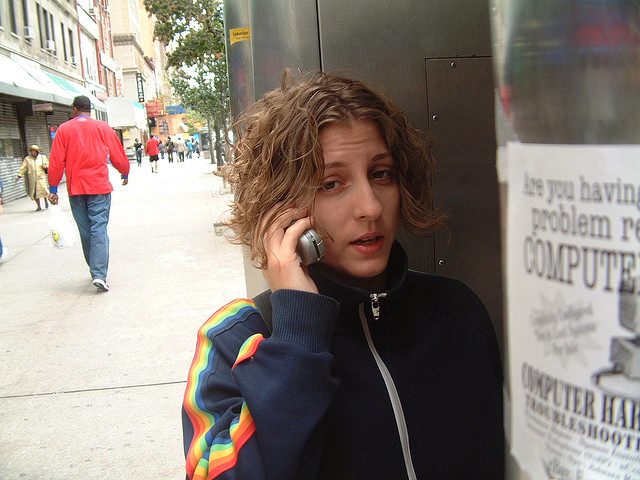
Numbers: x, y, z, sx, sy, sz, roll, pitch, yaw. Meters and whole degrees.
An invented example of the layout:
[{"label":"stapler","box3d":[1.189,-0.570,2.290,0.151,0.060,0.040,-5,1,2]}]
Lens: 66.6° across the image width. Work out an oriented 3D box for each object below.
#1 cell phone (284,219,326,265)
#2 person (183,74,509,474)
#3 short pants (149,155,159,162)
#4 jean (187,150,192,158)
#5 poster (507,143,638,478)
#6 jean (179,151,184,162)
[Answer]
[{"label":"cell phone","box3d":[-0.035,0.008,1.597,0.089,0.189,0.132,-17,10,-41]},{"label":"person","box3d":[0.042,0.108,1.517,1.012,1.201,0.644,-9,15,-17]},{"label":"short pants","box3d":[-10.059,-5.068,29.823,0.512,0.421,0.665,-6,-4,-37]},{"label":"jean","box3d":[-15.395,-10.188,57.488,0.353,1.012,2.770,-7,16,-12]},{"label":"poster","box3d":[0.429,0.144,0.848,0.249,0.612,0.116,7,18,39]},{"label":"jean","box3d":[-13.030,-7.822,45.724,0.375,0.886,1.390,-7,15,-13]}]
